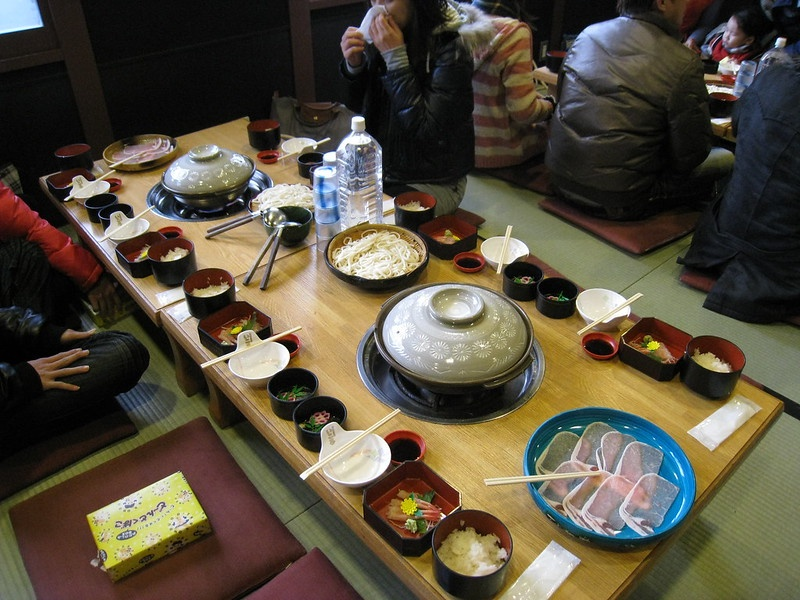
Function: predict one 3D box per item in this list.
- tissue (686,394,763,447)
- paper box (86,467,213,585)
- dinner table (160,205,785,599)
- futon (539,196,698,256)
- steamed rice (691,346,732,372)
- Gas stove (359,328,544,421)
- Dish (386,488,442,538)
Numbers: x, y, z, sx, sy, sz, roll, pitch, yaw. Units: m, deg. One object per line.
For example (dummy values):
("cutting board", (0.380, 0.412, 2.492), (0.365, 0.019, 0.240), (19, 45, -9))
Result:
("tissue", (1.073, 0.416, 1.830), (0.296, 0.032, 0.115), (-33, 55, -23))
("paper box", (-0.795, 0.723, 1.802), (0.326, 0.089, 0.230), (-24, 53, -23))
("dinner table", (0.157, 0.825, 2.727), (2.142, 0.723, 1.265), (38, 66, 21))
("futon", (1.622, -0.535, 3.725), (0.515, 0.062, 0.555), (-32, 46, -31))
("steamed rice", (1.108, 0.216, 1.952), (0.097, 0.033, 0.098), (-1, 36, -9))
("Gas stove", (0.154, 0.260, 1.876), (0.366, 0.050, 0.375), (3, 42, 7))
("Dish", (0.035, 0.604, 1.590), (0.153, 0.044, 0.120), (29, 49, 29))
